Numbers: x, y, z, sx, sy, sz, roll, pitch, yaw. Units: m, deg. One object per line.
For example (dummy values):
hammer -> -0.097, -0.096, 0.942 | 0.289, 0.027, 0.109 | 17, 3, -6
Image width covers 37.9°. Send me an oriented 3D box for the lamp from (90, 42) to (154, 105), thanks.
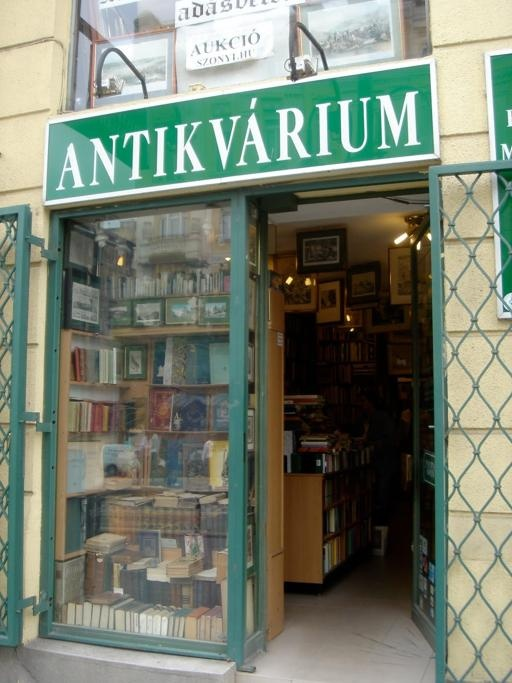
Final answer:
lamp -> -0.792, -1.598, 4.429 | 0.295, 0.392, 0.307 | 3, -4, -16
